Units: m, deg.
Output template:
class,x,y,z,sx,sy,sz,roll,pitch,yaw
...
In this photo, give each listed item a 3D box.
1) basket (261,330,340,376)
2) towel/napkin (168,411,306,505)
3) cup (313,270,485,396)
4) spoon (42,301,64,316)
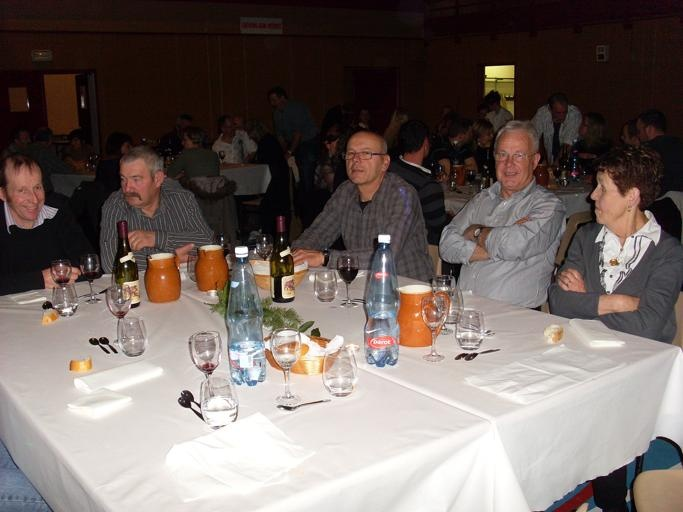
class,x,y,z,sx,sy,sz,roll,pitch,yaw
basket,-0.106,0.319,1.627,0.151,0.056,0.160,-1,8,-12
towel/napkin,-0.245,0.489,1.221,0.303,0.056,0.241,-9,11,-35
cup,0.272,0.257,1.763,0.411,0.320,0.248,1,2,22
spoon,-1.264,0.230,2.230,0.056,0.030,0.078,-11,-28,42
